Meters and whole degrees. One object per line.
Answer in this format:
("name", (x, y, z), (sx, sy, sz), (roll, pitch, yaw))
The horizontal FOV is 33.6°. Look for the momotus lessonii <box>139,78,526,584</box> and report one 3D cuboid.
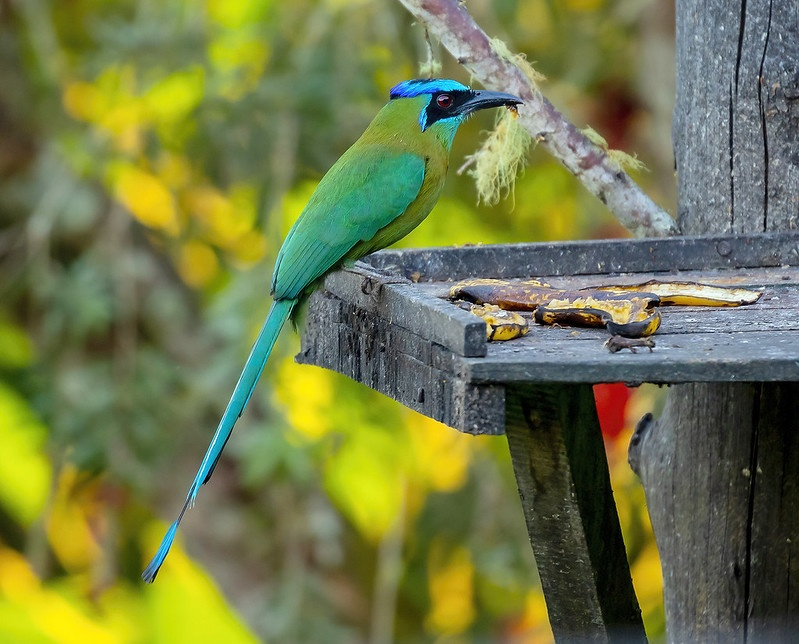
("momotus lessonii", (-0.351, -0.179, 4.378), (0.476, 1.884, 0.832), (34, -22, 51))
